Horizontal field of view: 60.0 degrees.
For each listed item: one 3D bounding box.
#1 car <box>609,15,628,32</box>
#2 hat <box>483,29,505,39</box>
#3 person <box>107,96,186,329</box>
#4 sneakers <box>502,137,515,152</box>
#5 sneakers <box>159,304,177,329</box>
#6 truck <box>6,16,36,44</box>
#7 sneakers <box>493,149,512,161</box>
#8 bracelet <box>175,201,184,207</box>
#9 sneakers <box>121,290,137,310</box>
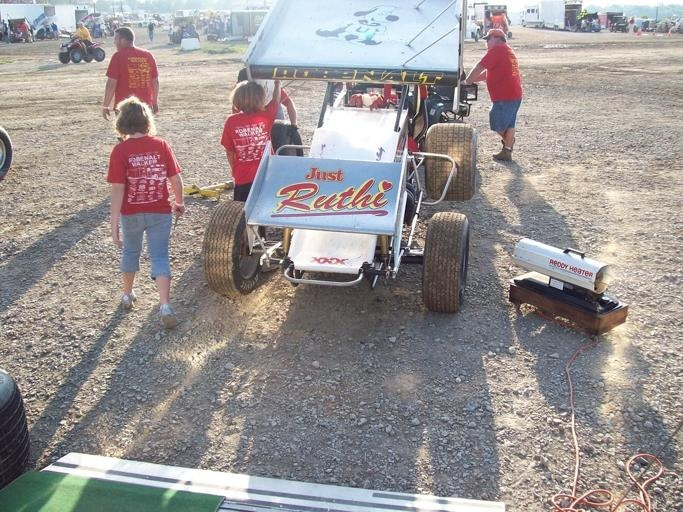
[{"bbox_3d":[22.768,-18.987,48.304,1.329,0.939,1.944,8,45,23],"label":"car"},{"bbox_3d":[2.332,-3.365,9.020,0.251,0.122,0.337,-6,22,-6],"label":"hat"},{"bbox_3d":[-1.714,-0.380,5.057,0.666,1.868,0.632,0,22,1],"label":"person"},{"bbox_3d":[2.629,-1.755,9.321,0.242,0.273,0.147,8,9,16],"label":"sneakers"},{"bbox_3d":[-1.500,0.504,5.132,0.126,0.223,0.169,-5,13,-19],"label":"sneakers"},{"bbox_3d":[-21.266,-14.966,39.460,1.415,1.089,2.332,0,20,-7],"label":"truck"},{"bbox_3d":[2.536,-1.580,9.292,0.253,0.208,0.112,27,50,25],"label":"sneakers"},{"bbox_3d":[-1.416,-0.456,5.136,0.053,0.031,0.048,-8,17,-7],"label":"bracelet"},{"bbox_3d":[-1.957,0.412,5.421,0.095,0.084,0.222,0,9,-8],"label":"sneakers"}]
